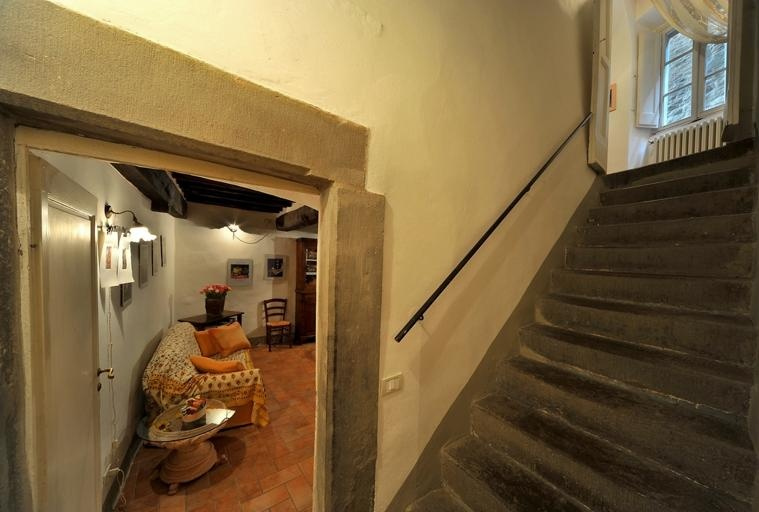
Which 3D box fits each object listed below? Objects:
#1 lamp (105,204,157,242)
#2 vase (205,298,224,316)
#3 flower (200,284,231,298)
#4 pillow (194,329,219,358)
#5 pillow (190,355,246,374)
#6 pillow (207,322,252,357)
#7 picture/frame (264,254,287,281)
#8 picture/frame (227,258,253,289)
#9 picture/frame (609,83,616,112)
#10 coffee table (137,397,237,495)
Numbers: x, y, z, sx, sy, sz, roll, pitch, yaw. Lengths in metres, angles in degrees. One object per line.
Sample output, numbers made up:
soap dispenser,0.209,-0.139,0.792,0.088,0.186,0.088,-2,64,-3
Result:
lamp,-2.522,-0.347,5.312,0.477,0.337,0.281,6,0,-2
vase,-2.381,0.741,7.667,0.247,0.225,0.220,2,-1,36
flower,-2.384,0.507,7.742,0.242,0.147,0.253,1,2,5
pillow,-2.170,1.097,6.560,0.135,0.230,0.266,-37,-15,1
pillow,-1.728,1.165,5.603,0.292,0.094,0.289,4,2,-40
pillow,-2.031,1.046,7.054,0.721,0.219,0.640,19,-5,-3
picture/frame,-1.788,0.188,8.868,0.351,0.400,0.024,16,-16,-42
picture/frame,-2.279,0.277,8.468,0.479,0.575,0.053,0,-2,-43
picture/frame,3.121,-2.123,7.058,0.097,0.373,0.057,-5,3,-27
coffee table,-1.817,1.766,4.984,0.826,0.678,0.594,-6,3,-28
